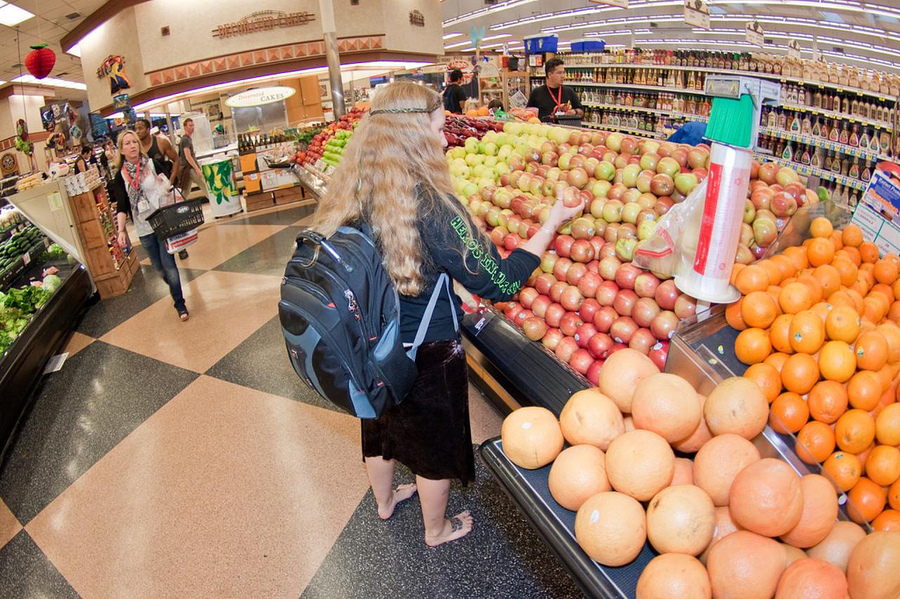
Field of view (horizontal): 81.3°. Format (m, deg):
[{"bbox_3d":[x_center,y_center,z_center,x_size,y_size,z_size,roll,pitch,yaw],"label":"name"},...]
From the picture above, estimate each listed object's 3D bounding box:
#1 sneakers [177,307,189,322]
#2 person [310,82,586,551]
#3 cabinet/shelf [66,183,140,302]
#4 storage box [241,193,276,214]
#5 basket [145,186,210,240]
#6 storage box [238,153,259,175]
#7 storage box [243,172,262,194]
[{"bbox_3d":[-2.500,0.136,4.750,0.065,0.046,0.176,-17,41,-25],"label":"sneakers"},{"bbox_3d":[-0.087,0.105,2.306,0.981,1.842,0.822,-13,23,-39],"label":"person"},{"bbox_3d":[-3.688,-0.576,5.363,0.359,1.001,1.077,-13,26,-8],"label":"cabinet/shelf"},{"bbox_3d":[-3.329,-1.684,8.859,0.514,0.255,0.278,-13,32,-17],"label":"storage box"},{"bbox_3d":[-2.433,-0.757,4.590,0.450,0.297,0.434,-24,67,-44],"label":"basket"},{"bbox_3d":[-3.467,-2.306,8.758,0.289,0.336,0.154,-8,30,-8],"label":"storage box"},{"bbox_3d":[-3.441,-1.994,8.832,0.307,0.348,0.140,-10,31,-11],"label":"storage box"}]
